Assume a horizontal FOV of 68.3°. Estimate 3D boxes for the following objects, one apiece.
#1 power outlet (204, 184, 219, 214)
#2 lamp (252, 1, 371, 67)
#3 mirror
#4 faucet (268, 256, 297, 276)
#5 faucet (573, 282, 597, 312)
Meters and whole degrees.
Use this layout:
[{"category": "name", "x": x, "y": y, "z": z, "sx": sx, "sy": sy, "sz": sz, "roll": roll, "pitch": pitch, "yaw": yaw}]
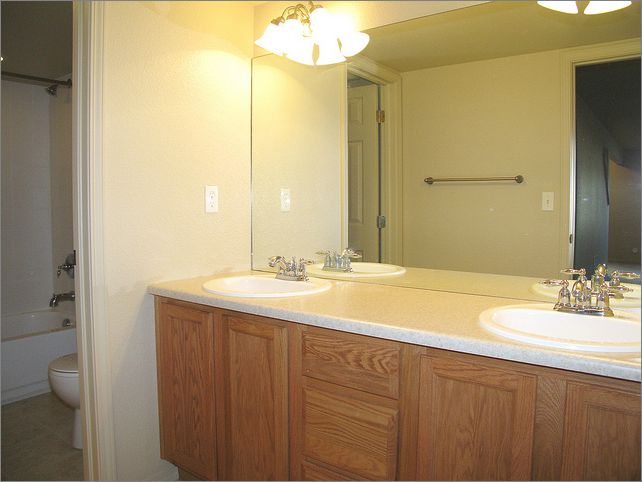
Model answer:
[{"category": "power outlet", "x": -0.624, "y": -0.238, "z": 2.697, "sx": 0.015, "sy": 0.159, "sz": 0.100, "roll": 7, "pitch": 14, "yaw": 40}, {"category": "lamp", "x": -0.027, "y": -1.008, "z": 2.568, "sx": 0.424, "sy": 0.468, "sz": 0.457, "roll": -7, "pitch": 11, "yaw": -28}, {"category": "mirror", "x": 0.655, "y": -0.362, "z": 2.637, "sx": 1.813, "sy": 1.910, "sz": 0.974, "roll": 0, "pitch": -1, "yaw": 31}, {"category": "faucet", "x": -0.202, "y": 0.132, "z": 2.555, "sx": 0.081, "sy": 0.125, "sz": 0.197, "roll": -4, "pitch": -8, "yaw": 41}, {"category": "faucet", "x": 1.033, "y": 0.230, "z": 1.904, "sx": 0.111, "sy": 0.115, "sz": 0.066, "roll": 7, "pitch": -12, "yaw": -43}]
